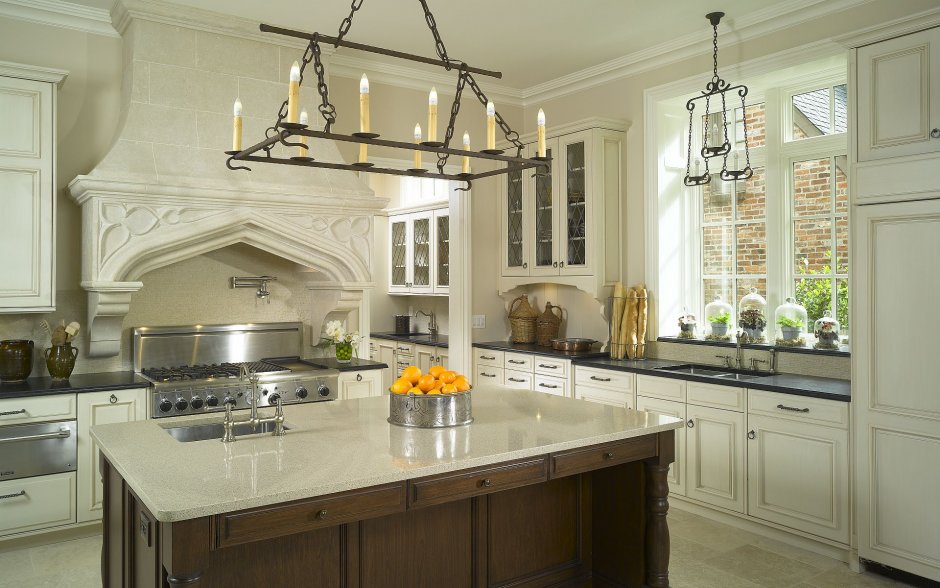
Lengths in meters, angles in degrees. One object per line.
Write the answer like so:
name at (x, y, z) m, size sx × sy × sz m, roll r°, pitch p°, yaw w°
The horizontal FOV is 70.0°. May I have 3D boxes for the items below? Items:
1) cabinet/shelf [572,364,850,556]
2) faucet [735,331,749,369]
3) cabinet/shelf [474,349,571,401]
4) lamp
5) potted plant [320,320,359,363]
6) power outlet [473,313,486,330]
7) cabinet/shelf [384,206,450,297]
cabinet/shelf at (2.008, 1.358, 5.338) m, size 0.424 × 0.719 × 1.607 m, roll 3°, pitch -3°, yaw -42°
faucet at (2.505, 0.505, 6.197) m, size 0.083 × 0.338 × 0.223 m, roll 6°, pitch 12°, yaw 32°
cabinet/shelf at (0.524, 0.835, 7.277) m, size 0.174 × 0.500 × 1.385 m, roll -9°, pitch 13°, yaw -41°
lamp at (2.386, -1.797, 6.355) m, size 0.654 × 1.532 × 1.129 m, roll 3°, pitch 10°, yaw 17°
potted plant at (-1.334, 0.521, 6.929) m, size 0.408 × 0.386 × 0.361 m, roll 2°, pitch -12°, yaw -29°
power outlet at (0.092, 0.308, 7.766) m, size 0.196 × 0.155 × 0.020 m, roll -2°, pitch 1°, yaw -38°
cabinet/shelf at (-0.715, -0.601, 9.285) m, size 0.516 × 1.158 × 1.415 m, roll 0°, pitch 0°, yaw -33°
